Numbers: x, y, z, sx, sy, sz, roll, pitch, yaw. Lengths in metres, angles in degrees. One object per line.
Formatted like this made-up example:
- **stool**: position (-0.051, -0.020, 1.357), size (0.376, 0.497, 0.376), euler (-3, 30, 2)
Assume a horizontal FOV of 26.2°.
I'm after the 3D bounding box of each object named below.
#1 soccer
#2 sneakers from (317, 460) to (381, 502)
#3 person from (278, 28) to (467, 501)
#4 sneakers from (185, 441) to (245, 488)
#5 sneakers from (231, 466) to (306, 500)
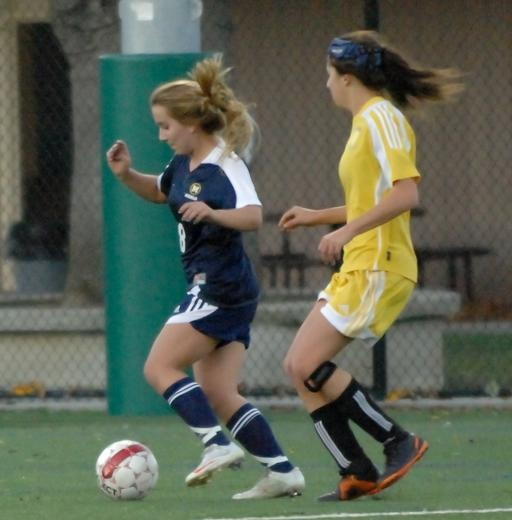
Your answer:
- **soccer**: position (-0.527, 0.866, 4.495), size (0.244, 0.231, 0.113), euler (-1, 4, -9)
- **sneakers**: position (0.372, 0.910, 4.472), size (0.286, 0.142, 0.094), euler (-22, -12, 27)
- **person**: position (0.454, 0.017, 4.437), size (0.653, 1.901, 0.584), euler (0, 4, 9)
- **sneakers**: position (-0.165, 0.825, 4.391), size (0.229, 0.192, 0.124), euler (-1, 4, -4)
- **sneakers**: position (0.045, 0.911, 4.510), size (0.302, 0.143, 0.109), euler (-4, -4, 7)
